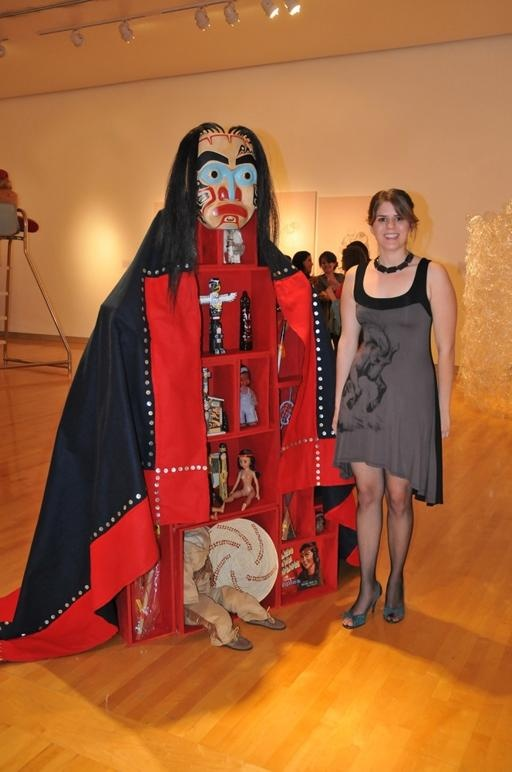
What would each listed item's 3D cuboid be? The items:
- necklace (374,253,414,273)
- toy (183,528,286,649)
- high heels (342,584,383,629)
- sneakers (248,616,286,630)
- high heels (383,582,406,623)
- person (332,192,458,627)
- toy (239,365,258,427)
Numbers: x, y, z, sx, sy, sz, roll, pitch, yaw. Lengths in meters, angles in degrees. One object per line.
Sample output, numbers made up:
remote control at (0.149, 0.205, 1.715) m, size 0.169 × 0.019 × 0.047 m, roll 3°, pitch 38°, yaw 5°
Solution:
necklace at (0.429, -0.394, 1.854) m, size 0.149 × 0.067 × 0.075 m, roll 9°, pitch 11°, yaw 40°
toy at (-0.108, 0.688, 2.189) m, size 0.405 × 0.416 × 0.295 m, roll 8°, pitch 14°, yaw 29°
high heels at (0.400, 0.828, 2.214) m, size 0.079 × 0.103 × 0.246 m, roll 6°, pitch 24°, yaw 34°
sneakers at (0.039, 0.851, 2.135) m, size 0.134 × 0.054 × 0.046 m, roll 2°, pitch 10°, yaw 19°
high heels at (0.513, 0.812, 2.159) m, size 0.056 × 0.065 × 0.167 m, roll -1°, pitch 6°, yaw 7°
person at (0.442, 0.132, 1.974) m, size 0.421 × 1.521 × 0.232 m, roll 7°, pitch 10°, yaw 31°
toy at (-0.033, 0.037, 2.203) m, size 0.075 × 0.209 × 0.111 m, roll -1°, pitch 9°, yaw -19°
